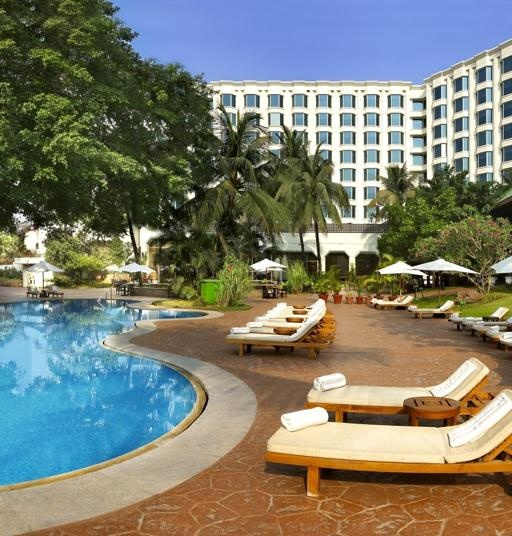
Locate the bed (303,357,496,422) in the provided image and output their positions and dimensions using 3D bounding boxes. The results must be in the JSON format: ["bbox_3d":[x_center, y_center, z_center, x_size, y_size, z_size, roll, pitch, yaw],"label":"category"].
[{"bbox_3d":[1.571,1.404,5.479,1.840,0.701,0.876,1,-4,8],"label":"bed"}]

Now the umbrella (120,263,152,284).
[{"bbox_3d":[-9.857,0.512,39.859,2.041,0.878,1.997,2,-2,-7],"label":"umbrella"}]

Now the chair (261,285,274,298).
[{"bbox_3d":[0.773,1.524,31.730,0.844,0.711,0.799,0,-4,3],"label":"chair"}]

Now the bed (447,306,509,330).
[{"bbox_3d":[6.976,1.657,15.157,2.123,0.847,0.988,0,-3,9],"label":"bed"}]

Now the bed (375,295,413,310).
[{"bbox_3d":[6.744,1.748,23.949,1.641,0.736,2.242,-2,4,14],"label":"bed"}]

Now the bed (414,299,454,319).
[{"bbox_3d":[7.189,1.653,19.508,1.760,0.654,0.882,-1,0,12],"label":"bed"}]

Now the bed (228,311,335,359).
[{"bbox_3d":[0.548,1.408,10.416,2.134,0.816,0.996,2,-5,8],"label":"bed"}]

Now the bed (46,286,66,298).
[{"bbox_3d":[-13.499,1.616,32.776,0.689,0.789,1.138,3,-6,-42],"label":"bed"}]

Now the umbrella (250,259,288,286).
[{"bbox_3d":[1.054,0.475,34.572,2.436,1.540,2.334,-4,6,-34],"label":"umbrella"}]

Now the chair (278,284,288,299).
[{"bbox_3d":[1.621,1.579,32.968,1.103,0.950,0.671,1,-4,7],"label":"chair"}]

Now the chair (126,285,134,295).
[{"bbox_3d":[-8.348,1.398,32.594,0.460,0.716,0.947,-5,5,-16],"label":"chair"}]

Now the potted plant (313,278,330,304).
[{"bbox_3d":[3.951,1.344,29.190,1.427,1.713,1.381,0,-5,-2],"label":"potted plant"}]

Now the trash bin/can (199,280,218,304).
[{"bbox_3d":[-2.146,1.111,22.923,0.609,1.196,1.597,-8,6,-41],"label":"trash bin/can"}]

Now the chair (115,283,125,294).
[{"bbox_3d":[-9.336,1.367,33.374,0.991,0.668,0.890,0,-3,-8],"label":"chair"}]
